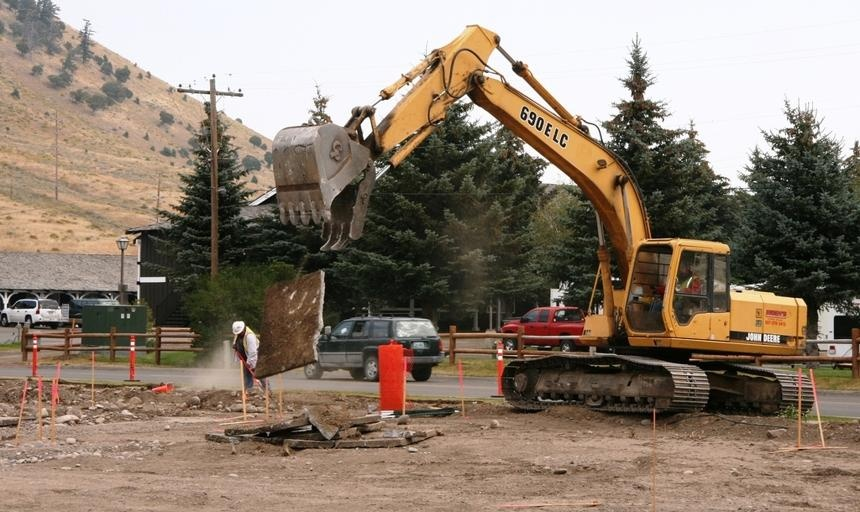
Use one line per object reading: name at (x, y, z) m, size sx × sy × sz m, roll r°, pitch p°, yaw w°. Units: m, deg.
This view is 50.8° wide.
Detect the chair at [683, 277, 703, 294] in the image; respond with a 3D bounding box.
chair at (6.540, 0.760, 22.592) m, size 0.208 × 0.330 × 0.351 m, roll 23°, pitch 1°, yaw -14°

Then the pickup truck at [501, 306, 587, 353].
pickup truck at (4.928, 3.208, 41.223) m, size 1.677 × 1.449 × 3.875 m, roll 4°, pitch -3°, yaw -43°

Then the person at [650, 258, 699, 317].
person at (6.333, 0.847, 22.945) m, size 0.965 × 1.573 × 0.546 m, roll 3°, pitch -7°, yaw 8°

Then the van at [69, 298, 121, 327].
van at (-17.994, 3.065, 48.218) m, size 3.556 × 1.815 × 1.968 m, roll 1°, pitch -3°, yaw 7°

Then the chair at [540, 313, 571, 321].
chair at (5.903, 2.744, 41.206) m, size 0.912 × 0.430 × 0.513 m, roll 2°, pitch -1°, yaw 40°
